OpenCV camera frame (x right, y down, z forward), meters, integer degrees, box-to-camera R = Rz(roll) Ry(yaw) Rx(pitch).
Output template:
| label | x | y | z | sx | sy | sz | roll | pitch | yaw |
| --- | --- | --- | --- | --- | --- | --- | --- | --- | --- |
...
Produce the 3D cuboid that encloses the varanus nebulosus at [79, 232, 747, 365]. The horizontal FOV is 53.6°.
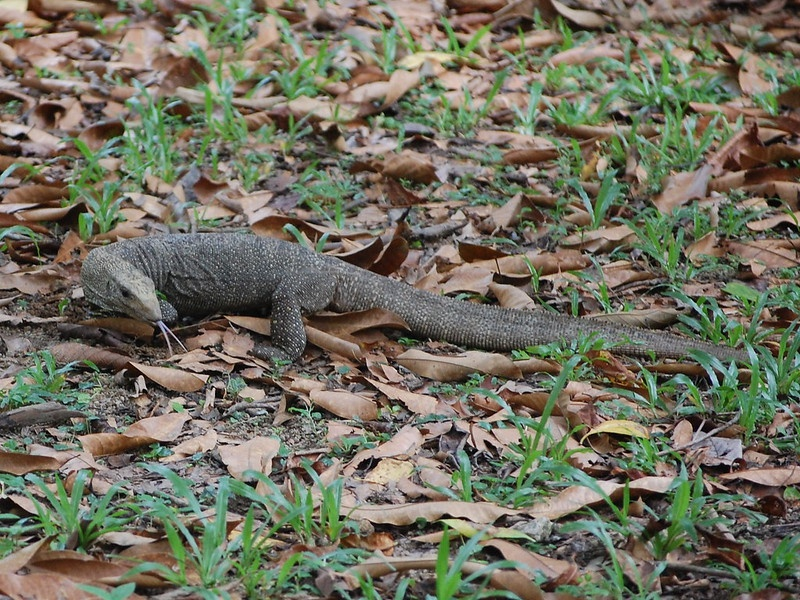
| label | x | y | z | sx | sy | sz | roll | pitch | yaw |
| --- | --- | --- | --- | --- | --- | --- | --- | --- | --- |
| varanus nebulosus | -0.274 | 0.044 | 5.840 | 3.942 | 0.581 | 0.871 | 9 | 48 | 6 |
